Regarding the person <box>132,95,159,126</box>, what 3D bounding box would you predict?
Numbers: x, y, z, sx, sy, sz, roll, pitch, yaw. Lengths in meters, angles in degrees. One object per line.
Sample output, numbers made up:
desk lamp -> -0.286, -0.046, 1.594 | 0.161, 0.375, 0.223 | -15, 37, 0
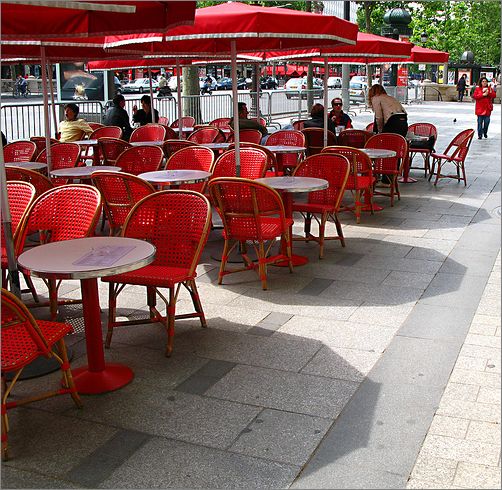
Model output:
person -> -3.079, -3.837, 13.287 | 0.426, 0.829, 1.122 | -7, 14, -23

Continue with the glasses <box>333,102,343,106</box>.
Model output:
glasses -> 2.205, -3.557, 11.782 | 0.218, 0.064, 0.256 | 1, 11, 5

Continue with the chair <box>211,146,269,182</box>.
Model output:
chair -> -0.115, -1.156, 6.592 | 0.761, 0.723, 0.626 | 3, 12, 11

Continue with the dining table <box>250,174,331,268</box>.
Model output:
dining table -> 0.482, -0.323, 5.611 | 1.309, 1.003, 1.077 | 0, 15, 1

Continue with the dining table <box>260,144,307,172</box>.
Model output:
dining table -> 0.625, -1.494, 7.906 | 0.782, 0.410, 0.662 | -1, 16, 0

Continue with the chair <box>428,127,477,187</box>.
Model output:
chair -> 4.541, -1.994, 10.531 | 1.064, 1.062, 0.869 | -8, 18, 2

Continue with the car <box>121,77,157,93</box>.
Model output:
car -> -11.956, -16.442, 48.445 | 4.009, 1.583, 1.619 | 8, 16, 37

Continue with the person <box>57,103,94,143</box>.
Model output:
person -> -4.195, -2.787, 10.812 | 1.312, 0.904, 0.446 | 6, 9, 29

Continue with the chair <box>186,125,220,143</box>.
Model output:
chair -> -0.964, -2.417, 10.371 | 0.609, 0.539, 0.652 | 5, 15, 19

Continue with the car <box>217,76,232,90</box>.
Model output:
car -> -3.232, -19.226, 55.367 | 1.671, 1.950, 4.304 | -2, 12, -5

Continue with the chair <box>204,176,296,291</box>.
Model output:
chair -> 0.019, -0.168, 5.118 | 0.895, 1.179, 0.866 | 0, 14, 4
